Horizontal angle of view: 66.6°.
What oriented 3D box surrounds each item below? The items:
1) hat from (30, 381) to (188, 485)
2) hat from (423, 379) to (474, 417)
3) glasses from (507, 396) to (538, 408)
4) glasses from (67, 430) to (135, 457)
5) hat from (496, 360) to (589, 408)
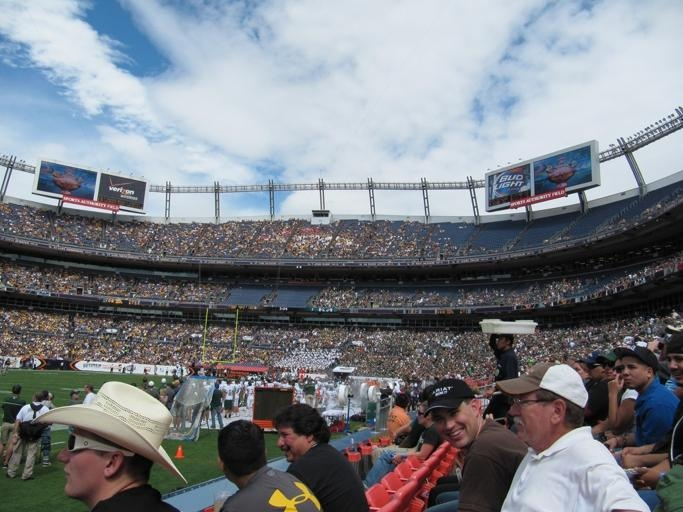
[{"bbox_3d":[-1.786,1.354,4.080,0.951,0.709,0.361,4,-19,-14],"label":"hat"},{"bbox_3d":[1.046,1.364,5.027,0.333,0.194,0.476,-21,-22,41],"label":"hat"},{"bbox_3d":[1.450,1.157,4.110,0.332,0.068,0.209,1,-16,4],"label":"glasses"},{"bbox_3d":[-1.874,1.443,4.022,0.361,0.076,0.237,8,-15,-6],"label":"glasses"},{"bbox_3d":[1.593,1.002,4.083,0.638,0.192,0.356,1,-12,16],"label":"hat"}]
